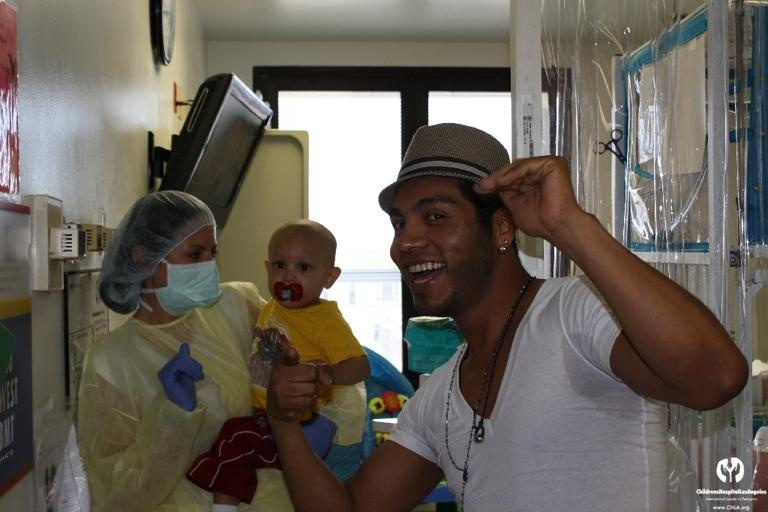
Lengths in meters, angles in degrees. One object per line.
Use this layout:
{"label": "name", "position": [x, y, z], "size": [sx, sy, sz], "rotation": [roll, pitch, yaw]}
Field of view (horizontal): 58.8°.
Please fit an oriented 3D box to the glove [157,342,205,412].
{"label": "glove", "position": [-0.710, 0.421, 2.374], "size": [0.146, 0.226, 0.080], "rotation": [0, -1, -21]}
